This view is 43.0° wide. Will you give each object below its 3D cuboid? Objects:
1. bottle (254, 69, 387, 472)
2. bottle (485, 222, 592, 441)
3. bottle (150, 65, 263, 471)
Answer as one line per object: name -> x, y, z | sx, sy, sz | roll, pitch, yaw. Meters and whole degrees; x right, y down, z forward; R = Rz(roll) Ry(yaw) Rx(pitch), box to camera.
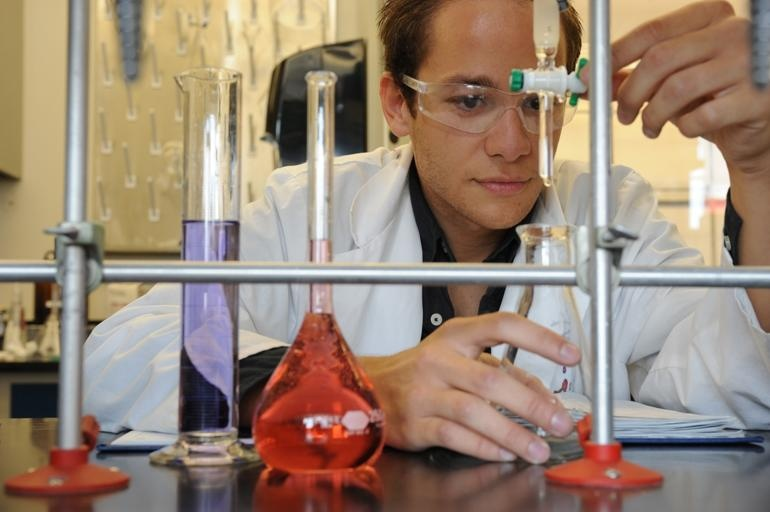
bottle -> -0.120, 0.037, 1.561 | 0.202, 0.643, 0.172 | -5, 12, -22
bottle -> 0.278, 0.131, 1.614 | 0.119, 0.370, 0.199 | -2, 12, -7
bottle -> -0.319, 0.020, 1.655 | 0.179, 0.660, 0.223 | -3, 11, -10
